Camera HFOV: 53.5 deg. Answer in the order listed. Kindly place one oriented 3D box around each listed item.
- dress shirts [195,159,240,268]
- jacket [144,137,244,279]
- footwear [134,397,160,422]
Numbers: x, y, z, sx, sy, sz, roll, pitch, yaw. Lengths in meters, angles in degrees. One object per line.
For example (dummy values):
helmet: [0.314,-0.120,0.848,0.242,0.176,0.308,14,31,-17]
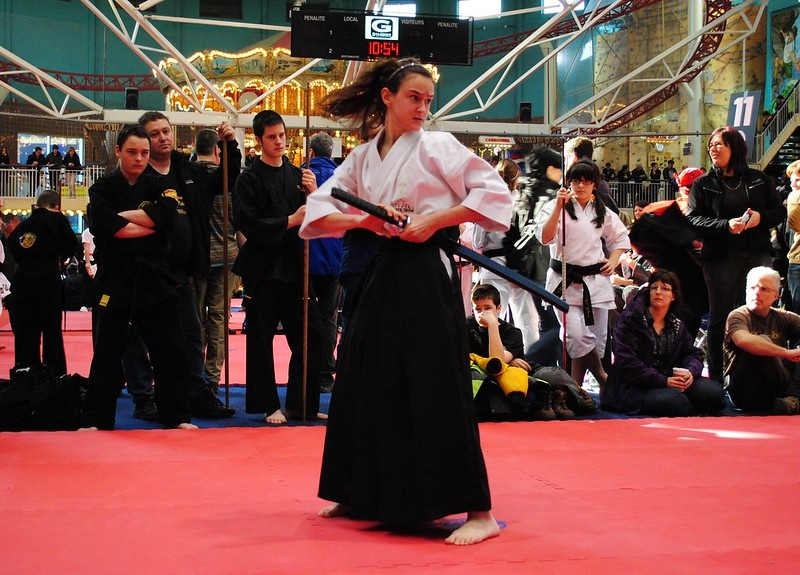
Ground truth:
dress shirts: [-1.569,-0.806,6.765,0.396,0.508,0.193,-1,7,-38]
jacket: [-1.623,-0.626,5.842,0.712,1.073,0.325,-1,8,-16]
footwear: [-1.923,0.940,6.067,0.149,0.142,0.338,6,-13,-34]
